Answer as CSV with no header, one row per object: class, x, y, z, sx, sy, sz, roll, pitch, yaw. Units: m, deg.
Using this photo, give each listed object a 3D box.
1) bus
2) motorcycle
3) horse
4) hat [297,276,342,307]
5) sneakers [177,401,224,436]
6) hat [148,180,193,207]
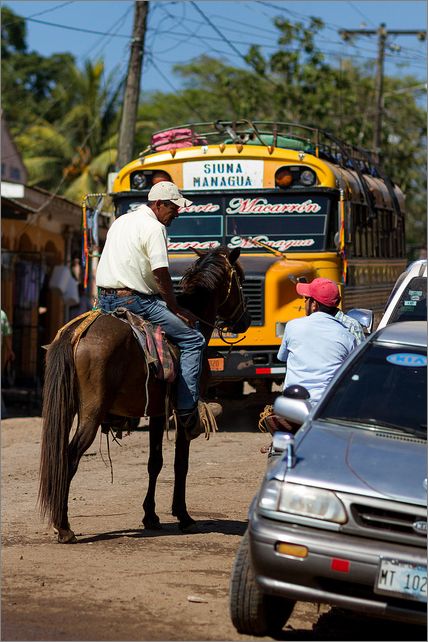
bus,0.932,-0.961,13.182,2.916,2.922,5.359,-1,-2,15
motorcycle,0.619,0.422,5.911,0.448,1.226,0.393,10,11,-1
horse,-0.528,0.507,6.766,0.681,2.052,2.494,5,3,31
hat,0.675,-0.176,6.038,0.274,0.135,0.173,27,37,20
sneakers,-0.085,0.704,6.638,0.148,0.186,0.348,4,9,36
hat,-0.323,-0.913,6.566,0.280,0.137,0.165,-1,20,3
